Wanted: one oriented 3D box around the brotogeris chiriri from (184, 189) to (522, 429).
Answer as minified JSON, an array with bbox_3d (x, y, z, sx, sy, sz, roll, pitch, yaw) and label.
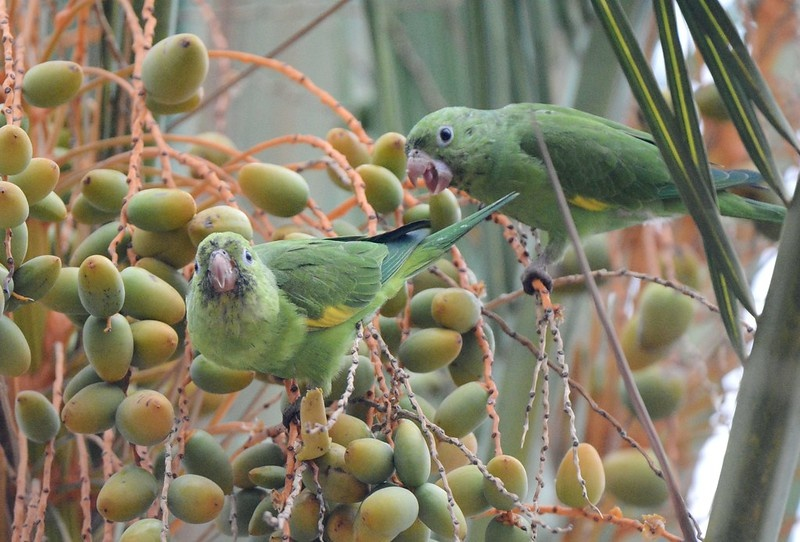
[{"bbox_3d":[-0.075,0.032,2.241,0.530,0.350,0.172,-20,21,-31],"label":"brotogeris chiriri"}]
